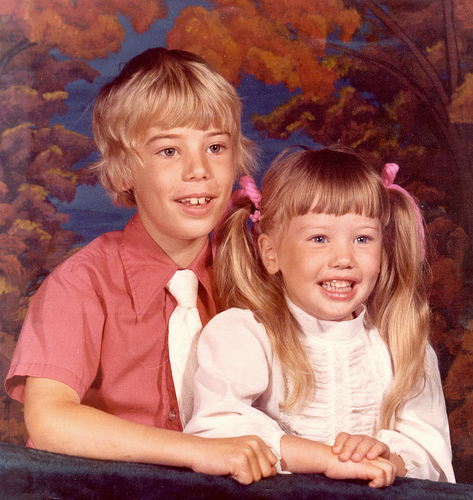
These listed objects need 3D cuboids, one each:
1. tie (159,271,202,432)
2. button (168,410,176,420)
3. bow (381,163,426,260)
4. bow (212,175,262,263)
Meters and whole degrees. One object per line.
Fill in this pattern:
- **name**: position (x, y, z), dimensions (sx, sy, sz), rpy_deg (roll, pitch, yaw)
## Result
- **tie**: position (-0.099, 0.204, 1.177), dimensions (0.086, 0.307, 0.045), rpy_deg (5, -31, 1)
- **button**: position (-0.125, 0.321, 1.147), dimensions (0.020, 0.015, 0.004), rpy_deg (7, -1, -29)
- **bow**: position (0.366, -0.083, 1.283), dimensions (0.083, 0.213, 0.218), rpy_deg (-1, 8, 17)
- **bow**: position (-0.002, -0.066, 1.252), dimensions (0.156, 0.184, 0.083), rpy_deg (0, 10, 24)
